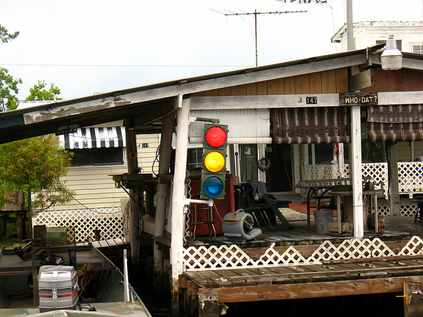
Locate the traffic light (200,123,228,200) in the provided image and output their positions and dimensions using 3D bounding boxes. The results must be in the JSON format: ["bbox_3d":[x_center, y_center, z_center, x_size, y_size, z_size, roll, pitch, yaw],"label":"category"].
[{"bbox_3d":[0.059,0.092,13.847,0.569,1.581,0.484,-1,8,2],"label":"traffic light"}]

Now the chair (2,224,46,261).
[{"bbox_3d":[-4.993,2.284,17.241,1.121,1.027,1.269,1,-2,-4],"label":"chair"}]

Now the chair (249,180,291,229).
[{"bbox_3d":[1.523,1.212,17.223,1.042,1.292,1.007,-3,9,-12],"label":"chair"}]

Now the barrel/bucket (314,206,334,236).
[{"bbox_3d":[2.858,1.669,16.429,0.497,0.565,0.568,0,-5,9],"label":"barrel/bucket"}]

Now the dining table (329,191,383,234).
[{"bbox_3d":[3.509,1.258,15.866,1.045,0.950,1.043,-1,0,-30],"label":"dining table"}]

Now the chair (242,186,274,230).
[{"bbox_3d":[1.330,1.299,17.479,0.751,0.992,0.751,2,7,35],"label":"chair"}]
